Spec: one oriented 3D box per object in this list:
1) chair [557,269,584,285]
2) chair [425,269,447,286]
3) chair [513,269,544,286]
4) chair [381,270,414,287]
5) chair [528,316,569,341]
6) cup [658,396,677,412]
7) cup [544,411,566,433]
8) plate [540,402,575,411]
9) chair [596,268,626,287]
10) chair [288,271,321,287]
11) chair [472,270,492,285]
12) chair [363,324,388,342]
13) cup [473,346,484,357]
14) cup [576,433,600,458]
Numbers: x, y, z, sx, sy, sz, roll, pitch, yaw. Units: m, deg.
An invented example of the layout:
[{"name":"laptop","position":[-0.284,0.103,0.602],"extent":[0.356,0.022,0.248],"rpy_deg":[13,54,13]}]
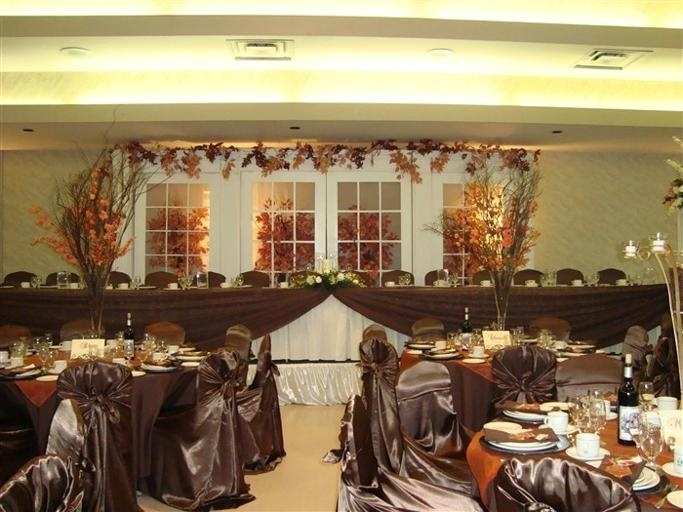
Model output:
[{"name":"chair","position":[3.541,0.325,9.205],"extent":[0.382,0.274,0.483],"rpy_deg":[15,5,20]},{"name":"chair","position":[1.390,0.315,8.733],"extent":[0.251,0.276,0.213],"rpy_deg":[2,-2,18]},{"name":"chair","position":[2.812,0.314,9.002],"extent":[0.463,0.351,0.478],"rpy_deg":[0,1,35]},{"name":"chair","position":[0.811,0.320,8.720],"extent":[0.294,0.312,0.301],"rpy_deg":[0,-3,3]},{"name":"chair","position":[2.004,0.688,5.683],"extent":[0.259,0.336,0.349],"rpy_deg":[0,-16,6]},{"name":"cup","position":[1.652,0.749,2.996],"extent":[0.076,0.081,0.103],"rpy_deg":[-2,-12,6]},{"name":"cup","position":[1.080,0.847,3.007],"extent":[0.101,0.079,0.079],"rpy_deg":[-3,0,4]},{"name":"plate","position":[1.233,0.871,3.408],"extent":[0.152,0.039,0.158],"rpy_deg":[-4,-2,28]},{"name":"chair","position":[4.193,0.321,9.157],"extent":[0.423,0.282,0.464],"rpy_deg":[16,5,24]},{"name":"chair","position":[-0.419,0.277,7.002],"extent":[0.289,0.151,0.309],"rpy_deg":[1,1,-3]},{"name":"chair","position":[2.122,0.323,8.901],"extent":[0.270,0.205,0.245],"rpy_deg":[0,-2,18]},{"name":"chair","position":[0.271,0.625,4.801],"extent":[0.142,0.125,0.173],"rpy_deg":[6,-18,-19]},{"name":"cup","position":[1.130,0.790,4.831],"extent":[0.087,0.071,0.069],"rpy_deg":[-3,-4,33]},{"name":"cup","position":[1.124,0.870,2.695],"extent":[0.095,0.073,0.097],"rpy_deg":[2,-10,0]}]
